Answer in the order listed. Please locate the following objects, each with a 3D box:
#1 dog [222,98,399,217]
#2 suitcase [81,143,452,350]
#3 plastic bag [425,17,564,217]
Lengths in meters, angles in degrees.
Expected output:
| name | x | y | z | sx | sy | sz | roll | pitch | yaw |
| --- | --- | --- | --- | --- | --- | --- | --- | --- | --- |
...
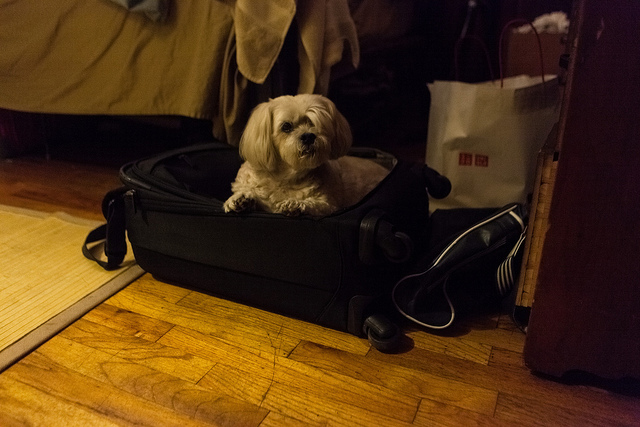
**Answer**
| name | x | y | z | sx | sy | sz | roll | pitch | yaw |
| --- | --- | --- | --- | --- | --- | --- | --- | --- | --- |
| dog | -0.070 | -0.205 | 2.163 | 0.431 | 0.333 | 0.676 | 7 | 1 | 19 |
| suitcase | -0.225 | 0.142 | 2.147 | 1.015 | 0.353 | 0.966 | 10 | 17 | 19 |
| plastic bag | 0.836 | -0.412 | 2.434 | 0.309 | 0.918 | 0.662 | -10 | 13 | -34 |
